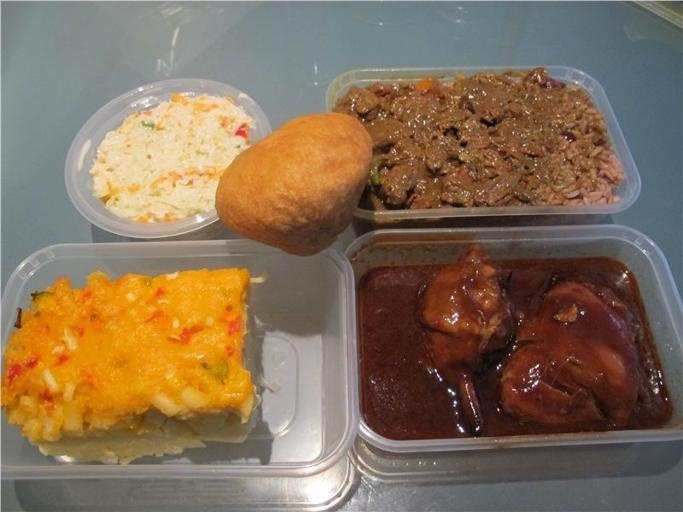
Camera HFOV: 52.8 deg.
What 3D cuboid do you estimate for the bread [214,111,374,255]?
[{"bbox_3d":[-0.172,-0.293,2.882,0.711,0.370,0.493,-31,76,-2],"label":"bread"}]
